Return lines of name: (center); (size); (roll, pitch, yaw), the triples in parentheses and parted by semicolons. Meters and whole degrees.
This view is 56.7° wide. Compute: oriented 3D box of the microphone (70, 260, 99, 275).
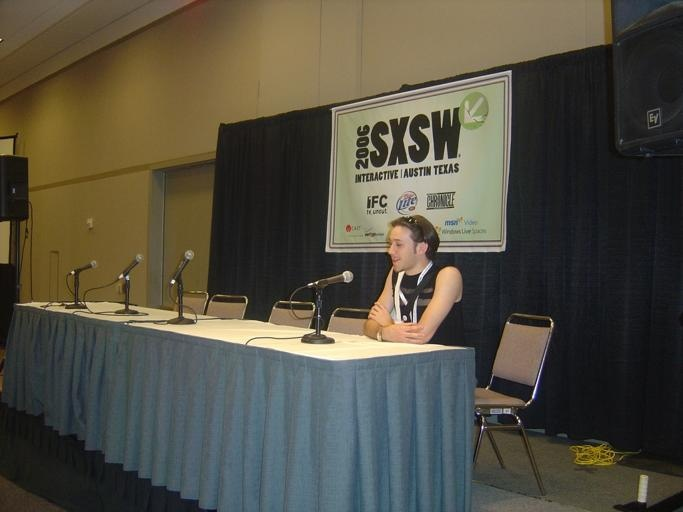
microphone: (-3.288, 0.148, 8.175); (0.269, 0.083, 0.074); (-32, 19, -12)

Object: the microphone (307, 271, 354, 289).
microphone: (-0.070, 0.199, 5.216); (0.248, 0.078, 0.078); (-17, 32, 5)

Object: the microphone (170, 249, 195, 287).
microphone: (-1.695, 0.132, 6.821); (0.161, 0.149, 0.534); (-1, -42, -44)

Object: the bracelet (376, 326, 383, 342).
bracelet: (0.236, 0.485, 3.872); (0.027, 0.065, 0.045); (3, -4, -3)
